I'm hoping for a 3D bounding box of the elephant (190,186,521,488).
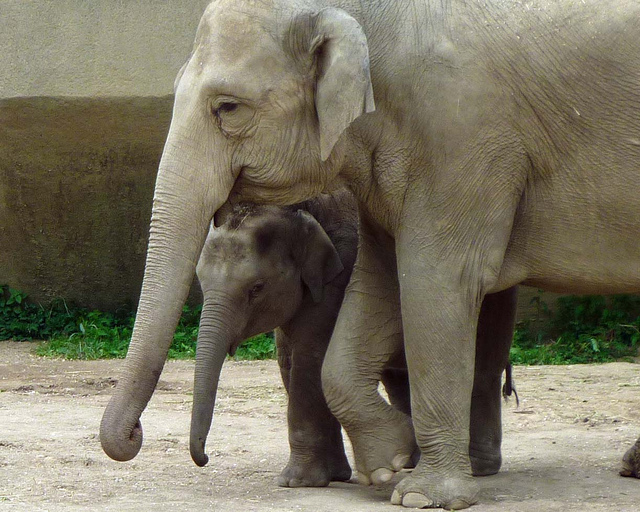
[{"bbox_3d":[0.162,0.384,4.591,1.624,1.314,0.688,3,-7,-23],"label":"elephant"}]
